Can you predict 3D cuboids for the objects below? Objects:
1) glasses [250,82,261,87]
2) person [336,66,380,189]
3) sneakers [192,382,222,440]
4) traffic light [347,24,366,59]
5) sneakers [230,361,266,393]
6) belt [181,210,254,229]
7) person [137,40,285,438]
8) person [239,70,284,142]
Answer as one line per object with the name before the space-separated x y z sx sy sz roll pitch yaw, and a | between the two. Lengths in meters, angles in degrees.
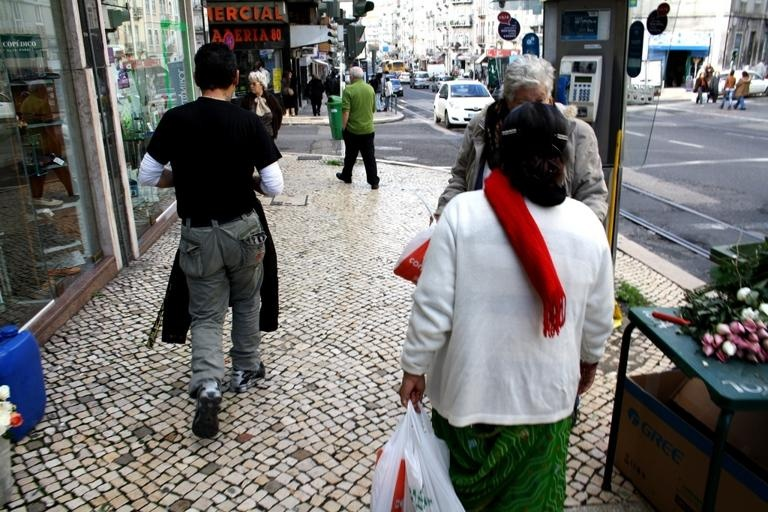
glasses | -2.248 -3.042 8.903 0.114 0.037 0.109 4 0 -40
person | -0.530 -2.484 9.928 0.797 2.163 0.851 -4 20 -9
sneakers | -1.154 1.022 3.377 0.155 0.420 0.182 5 0 -15
traffic light | -0.767 -5.662 13.276 0.519 0.878 0.828 -2 21 -4
sneakers | -1.062 0.937 4.050 0.131 0.161 0.338 5 17 24
belt | -1.142 -0.259 3.472 0.462 0.081 0.110 -5 21 -13
person | -1.135 -0.111 3.490 0.911 2.541 0.887 -11 22 -26
person | -2.288 -2.595 9.427 0.799 1.574 0.743 -4 26 -16
